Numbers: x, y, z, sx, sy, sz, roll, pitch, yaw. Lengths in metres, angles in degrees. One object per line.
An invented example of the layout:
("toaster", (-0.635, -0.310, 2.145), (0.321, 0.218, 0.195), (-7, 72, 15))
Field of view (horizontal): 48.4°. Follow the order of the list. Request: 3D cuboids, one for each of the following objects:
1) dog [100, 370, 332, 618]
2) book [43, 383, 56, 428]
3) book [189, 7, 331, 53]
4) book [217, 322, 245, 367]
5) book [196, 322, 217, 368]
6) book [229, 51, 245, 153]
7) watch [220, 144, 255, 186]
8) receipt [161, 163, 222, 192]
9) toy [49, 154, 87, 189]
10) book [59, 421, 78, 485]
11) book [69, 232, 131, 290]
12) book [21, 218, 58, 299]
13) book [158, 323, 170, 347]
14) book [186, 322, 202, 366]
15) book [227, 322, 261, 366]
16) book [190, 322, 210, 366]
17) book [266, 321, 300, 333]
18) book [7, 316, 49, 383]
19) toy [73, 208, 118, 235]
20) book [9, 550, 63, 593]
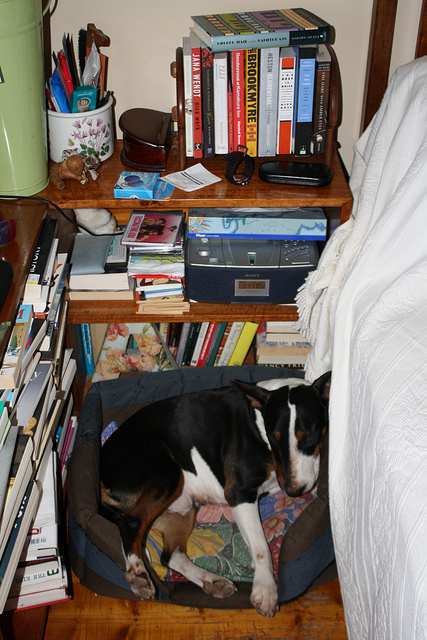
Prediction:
("dog", (0.020, 0.339, 1.020), (0.554, 0.473, 0.263), (-4, 1, 28))
("book", (-0.320, 0.164, 0.922), (0.009, 0.088, 0.070), (13, 48, -11))
("book", (0.094, -0.594, 0.968), (0.197, 0.036, 0.152), (-10, 44, -13))
("book", (0.049, 0.071, 1.389), (0.025, 0.111, 0.108), (25, 10, -3))
("book", (-0.022, 0.065, 1.375), (0.012, 0.096, 0.124), (14, -4, -4))
("book", (0.052, -0.490, 1.067), (0.039, 0.204, 0.043), (4, 31, 5))
("watch", (0.058, -0.348, 1.075), (0.065, 0.085, 0.046), (-22, 40, -26))
("receipt", (-0.051, -0.322, 1.076), (0.113, 0.029, 0.087), (-21, 40, -30))
("toy", (-0.317, -0.325, 1.033), (0.086, 0.073, 0.079), (-9, 34, -15))
("book", (-0.357, 0.326, 1.162), (0.024, 0.105, 0.116), (11, 50, -9))
("book", (-0.286, -0.153, 1.212), (0.134, 0.049, 0.152), (0, 67, -6))
("book", (-0.336, -0.115, 0.924), (0.028, 0.135, 0.113), (12, -12, -17))
("book", (-0.145, 0.045, 1.396), (0.030, 0.086, 0.012), (-4, 31, -8))
("book", (-0.059, 0.063, 1.381), (0.015, 0.152, 0.111), (19, -2, 4))
("book", (0.083, 0.073, 1.388), (0.025, 0.118, 0.113), (26, 21, 6))
("book", (-0.041, 0.064, 1.380), (0.011, 0.087, 0.111), (12, -15, -6))
("book", (0.190, 0.020, 1.358), (0.049, 0.013, 0.053), (-1, 17, 1))
("book", (-0.287, 0.044, 0.777), (0.018, 0.085, 0.081), (12, 15, -15))
("toy", (-0.300, -0.253, 1.249), (0.088, 0.070, 0.125), (-1, -1, -5))
("book", (-0.340, 0.481, 0.896), (0.073, 0.020, 0.079), (-6, 14, 1))
